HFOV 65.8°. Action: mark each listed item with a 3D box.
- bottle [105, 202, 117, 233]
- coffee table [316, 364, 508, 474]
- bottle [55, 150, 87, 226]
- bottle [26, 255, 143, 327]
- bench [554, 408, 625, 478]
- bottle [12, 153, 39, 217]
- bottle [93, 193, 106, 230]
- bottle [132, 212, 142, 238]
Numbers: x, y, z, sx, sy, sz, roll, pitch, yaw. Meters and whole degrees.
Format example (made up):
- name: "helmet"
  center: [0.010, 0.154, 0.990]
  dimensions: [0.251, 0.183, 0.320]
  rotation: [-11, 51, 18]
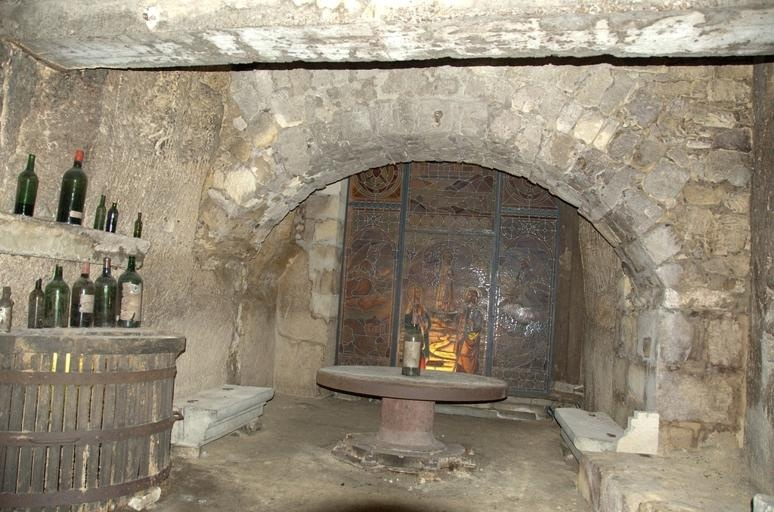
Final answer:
- name: "bottle"
  center: [-1.911, -0.266, 4.135]
  dimensions: [0.085, 0.200, 0.179]
  rotation: [3, 0, -26]
- name: "coffee table"
  center: [0.169, 1.254, 4.632]
  dimensions: [1.332, 0.586, 1.319]
  rotation: [4, -8, -21]
- name: "bottle"
  center: [-2.042, -0.440, 3.862]
  dimensions: [0.157, 0.457, 0.172]
  rotation: [3, 0, 0]
- name: "bottle"
  center: [-1.975, 0.233, 3.925]
  dimensions: [0.669, 0.438, 0.275]
  rotation: [3, 0, -35]
- name: "bench"
  center: [1.498, 1.397, 4.437]
  dimensions: [0.473, 0.429, 0.927]
  rotation: [3, 0, 16]
- name: "bottle"
  center: [-2.216, -0.435, 3.654]
  dimensions: [0.124, 0.356, 0.221]
  rotation: [3, 0, -30]
- name: "bottle"
  center: [-1.975, -0.299, 4.094]
  dimensions: [0.073, 0.226, 0.052]
  rotation: [3, 0, -28]
- name: "bottle"
  center: [-1.815, -0.222, 4.337]
  dimensions: [0.068, 0.183, 0.159]
  rotation: [3, 0, -23]
